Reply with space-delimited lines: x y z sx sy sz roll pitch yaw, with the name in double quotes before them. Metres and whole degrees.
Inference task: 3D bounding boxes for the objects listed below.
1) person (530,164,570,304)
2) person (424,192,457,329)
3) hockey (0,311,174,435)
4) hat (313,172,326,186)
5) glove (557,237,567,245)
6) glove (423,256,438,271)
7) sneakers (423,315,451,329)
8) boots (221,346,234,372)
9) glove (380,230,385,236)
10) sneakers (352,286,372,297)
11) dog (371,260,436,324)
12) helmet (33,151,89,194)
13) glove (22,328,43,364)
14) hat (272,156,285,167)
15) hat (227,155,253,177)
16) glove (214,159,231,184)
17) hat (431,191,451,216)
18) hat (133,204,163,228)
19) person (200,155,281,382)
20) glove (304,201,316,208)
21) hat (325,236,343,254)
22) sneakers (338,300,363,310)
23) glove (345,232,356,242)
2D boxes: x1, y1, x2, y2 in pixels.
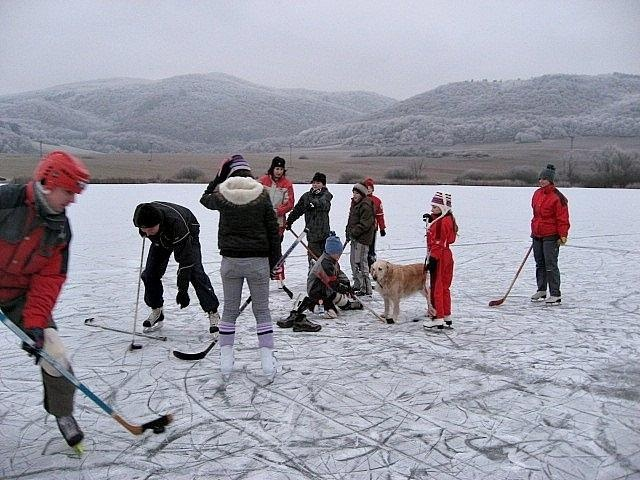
"person" 3.337 -0.083 7.426 0.550 2.043 1.369 5 13 22
"person" 1.466 0.232 6.205 0.377 1.649 0.714 3 12 12
"hockey" -2.065 1.201 4.465 1.297 0.186 0.251 38 -41 -13
"hat" -0.006 -0.946 7.740 0.193 0.189 0.212 7 5 2
"glove" 3.353 0.003 7.023 0.092 0.102 0.118 -1 -32 47
"glove" 1.349 0.254 6.153 0.135 0.163 0.167 4 32 17
"sneakers" 1.417 0.979 6.127 0.418 0.191 0.141 3 1 4
"boots" -0.888 1.136 4.859 0.097 0.259 0.108 2 -22 -8
"glove" 1.044 -0.127 8.493 0.057 0.095 0.140 -7 -23 9
"sneakers" 0.649 0.748 7.637 0.211 0.102 0.252 1 -5 -4
"dog" 1.065 0.635 6.667 1.249 0.763 0.385 -5 4 -38
"helmet" -1.814 -0.521 3.740 0.400 0.335 0.287 7 29 -4
"glove" -2.020 0.742 3.586 0.089 0.312 0.088 -37 -42 18
"hat" -0.634 -1.196 7.708 0.156 0.148 0.202 7 0 -2
"hat" -0.816 -0.730 5.042 0.196 0.232 0.259 0 -8 -17
"glove" -0.949 -0.683 4.986 0.090 0.215 0.163 24 1 28
"hat" 1.466 -0.479 6.265 0.312 0.303 0.232 -8 19 -21
"hat" -1.747 -0.293 5.214 0.223 0.234 0.281 -6 37 15
"person" -0.744 0.224 4.884 0.698 2.070 0.770 -1 12 -6
"glove" -0.136 -0.539 7.650 0.151 0.084 0.035 9 15 38
"hat" 0.164 0.058 6.321 0.230 0.206 0.204 -2 7 6
"sneakers" 0.433 0.905 6.992 0.214 0.079 0.213 -3 1 37
"glove" 0.447 -0.065 7.623 0.114 0.111 0.131 0 -10 0
